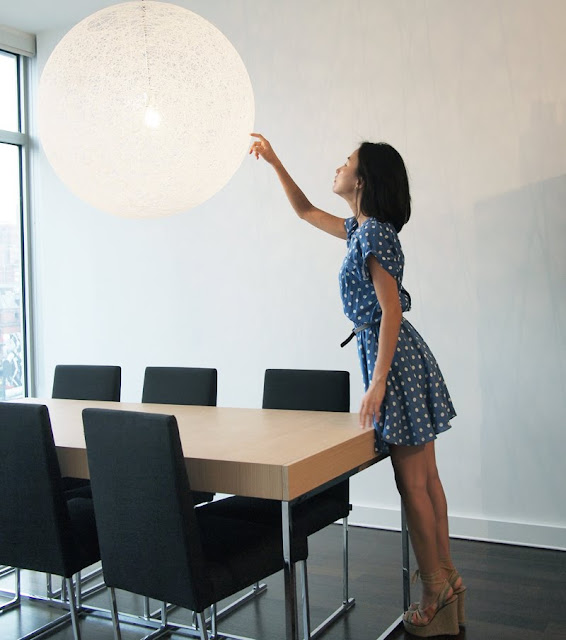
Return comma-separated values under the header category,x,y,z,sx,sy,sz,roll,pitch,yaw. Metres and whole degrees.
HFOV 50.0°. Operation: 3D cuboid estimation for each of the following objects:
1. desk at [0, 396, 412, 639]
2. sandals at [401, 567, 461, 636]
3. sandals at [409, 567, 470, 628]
category,x,y,z,sx,sy,sz,roll,pitch,yaw
desk,-0.276,0.525,1.935,1.123,0.554,0.933,-3,-2,33
sandals,0.513,0.972,2.148,0.210,0.284,0.138,0,-1,26
sandals,0.548,0.964,2.110,0.203,0.274,0.140,-1,-2,26
